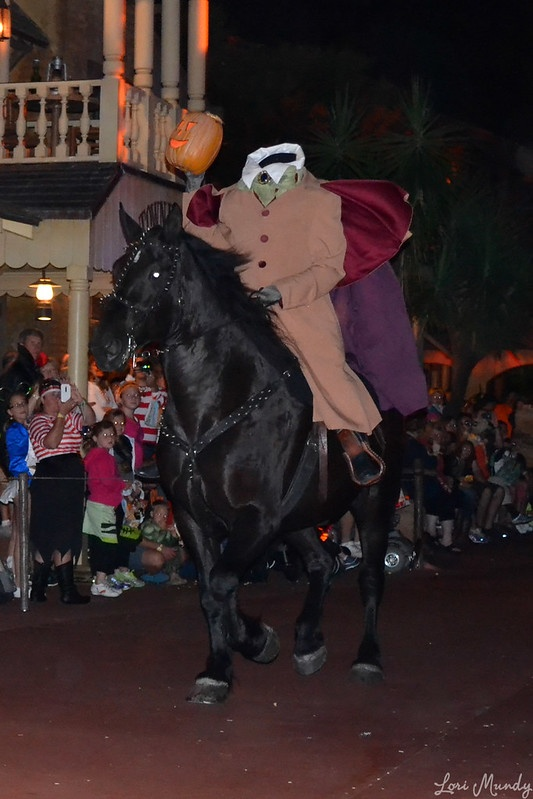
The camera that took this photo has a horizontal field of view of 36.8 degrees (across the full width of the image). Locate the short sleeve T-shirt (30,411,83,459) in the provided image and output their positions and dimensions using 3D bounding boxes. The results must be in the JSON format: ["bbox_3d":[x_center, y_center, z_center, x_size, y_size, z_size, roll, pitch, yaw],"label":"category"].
[{"bbox_3d":[-1.798,0.300,6.780,0.273,0.363,0.468,1,4,34],"label":"short sleeve T-shirt"}]

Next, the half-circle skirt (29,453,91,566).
[{"bbox_3d":[-1.762,0.906,6.696,0.417,0.886,0.356,3,6,-20],"label":"half-circle skirt"}]

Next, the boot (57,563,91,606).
[{"bbox_3d":[-1.582,1.505,6.596,0.275,0.323,0.275,2,6,-22],"label":"boot"}]

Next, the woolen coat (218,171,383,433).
[{"bbox_3d":[0.075,-0.561,4.277,1.029,1.345,0.853,2,23,12],"label":"woolen coat"}]

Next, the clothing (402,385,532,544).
[{"bbox_3d":[2.764,0.952,11.015,1.412,1.970,4.132,3,8,19],"label":"clothing"}]

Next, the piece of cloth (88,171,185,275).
[{"bbox_3d":[-1.685,-2.201,9.432,0.055,1.209,1.838,24,3,-19],"label":"piece of cloth"}]

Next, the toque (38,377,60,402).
[{"bbox_3d":[-1.873,-0.081,6.925,0.192,0.165,0.242,-2,6,-22],"label":"toque"}]

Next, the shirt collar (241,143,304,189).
[{"bbox_3d":[0.051,-1.237,4.175,0.290,0.129,0.280,-18,19,29],"label":"shirt collar"}]

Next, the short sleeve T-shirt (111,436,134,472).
[{"bbox_3d":[-1.379,0.521,7.660,0.134,0.381,0.226,-19,-22,16],"label":"short sleeve T-shirt"}]

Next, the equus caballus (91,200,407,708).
[{"bbox_3d":[-0.033,0.336,4.016,0.774,2.459,2.032,11,8,42],"label":"equus caballus"}]

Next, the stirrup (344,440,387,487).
[{"bbox_3d":[0.515,0.359,4.202,0.188,0.287,0.073,-22,-32,-8],"label":"stirrup"}]

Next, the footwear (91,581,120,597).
[{"bbox_3d":[-1.395,1.643,6.948,0.269,0.092,0.108,2,7,-8],"label":"footwear"}]

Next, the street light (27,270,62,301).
[{"bbox_3d":[-3.323,-1.704,12.009,0.501,0.438,0.436,0,-8,-4],"label":"street light"}]

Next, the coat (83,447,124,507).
[{"bbox_3d":[-1.436,0.692,7.186,0.448,0.485,0.470,0,0,-18],"label":"coat"}]
